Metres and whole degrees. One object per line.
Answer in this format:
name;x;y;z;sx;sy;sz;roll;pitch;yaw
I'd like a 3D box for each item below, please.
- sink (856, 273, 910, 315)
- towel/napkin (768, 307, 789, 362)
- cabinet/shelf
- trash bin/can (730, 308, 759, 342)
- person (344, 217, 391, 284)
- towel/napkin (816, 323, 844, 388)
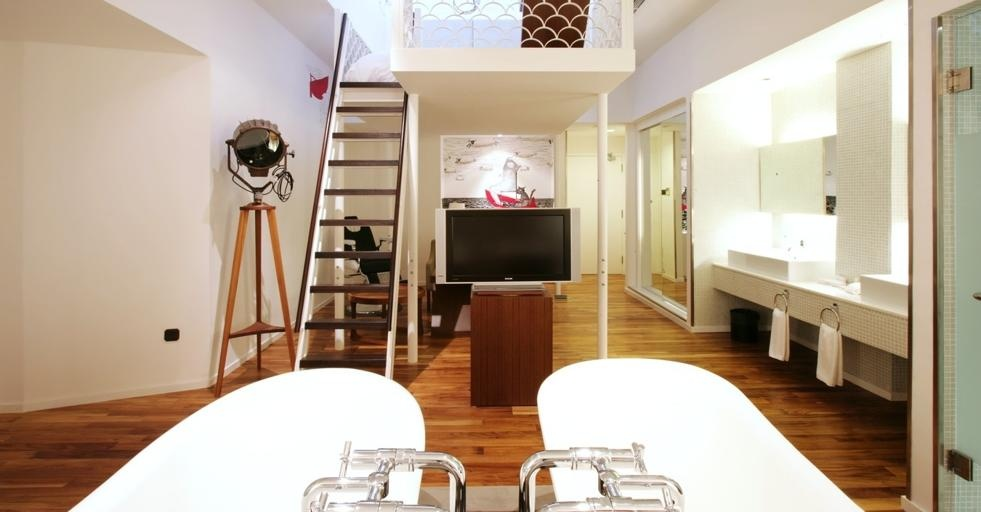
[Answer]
sink;4.234;0.383;6.531;0.455;0.401;0.248;17;-28;19
towel/napkin;3.539;0.948;7.451;0.187;0.585;0.238;1;7;19
cabinet/shelf;0.237;1.060;7.913;1.243;1.847;1.686;0;-9;1
trash bin/can;3.544;0.959;8.420;0.425;0.380;0.450;-2;3;-26
person;-1.981;-0.055;9.868;0.816;0.890;0.886;-9;22;-36
towel/napkin;3.823;1.122;6.859;0.265;0.686;0.262;5;8;41
